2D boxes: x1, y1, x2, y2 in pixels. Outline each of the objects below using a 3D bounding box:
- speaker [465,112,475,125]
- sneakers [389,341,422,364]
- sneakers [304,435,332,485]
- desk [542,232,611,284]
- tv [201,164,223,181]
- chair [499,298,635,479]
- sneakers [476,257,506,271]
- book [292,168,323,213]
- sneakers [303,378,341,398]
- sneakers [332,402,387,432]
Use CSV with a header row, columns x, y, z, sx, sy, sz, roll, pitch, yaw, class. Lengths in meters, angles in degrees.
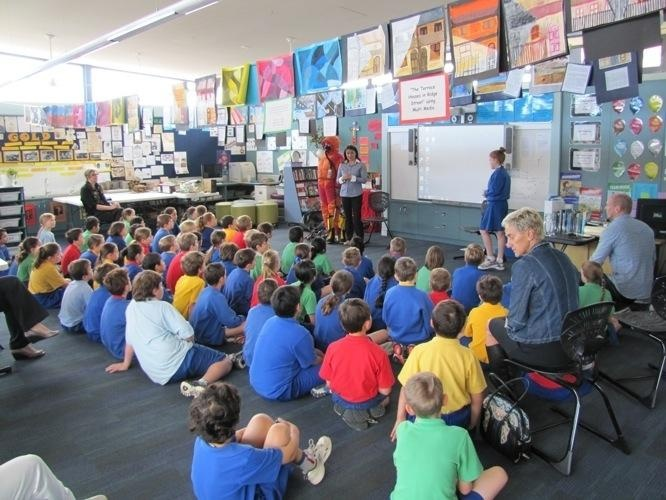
x,y,z,sx,sy,sz,roll,pitch,yaw,class
2.414,-2.320,7.915,0.076,0.210,0.211,-6,9,-40,speaker
0.610,0.914,4.035,0.211,0.132,0.301,-5,-8,12,sneakers
-0.089,1.354,2.949,0.102,0.137,0.318,-14,27,23,sneakers
3.111,-0.015,5.864,0.716,0.714,0.702,-6,8,-39,desk
-3.189,-2.047,11.936,0.555,0.420,0.144,-5,14,-25,tv
1.436,0.832,3.382,0.796,1.354,1.108,-5,7,-21,chair
2.423,0.193,6.943,0.485,0.235,0.216,3,2,18,sneakers
-0.590,-1.299,9.972,0.295,1.015,1.003,-1,6,31,book
-0.090,1.157,3.732,0.263,0.140,0.100,2,-4,-5,sneakers
0.183,1.233,3.385,0.200,0.079,0.207,-9,15,-38,sneakers
